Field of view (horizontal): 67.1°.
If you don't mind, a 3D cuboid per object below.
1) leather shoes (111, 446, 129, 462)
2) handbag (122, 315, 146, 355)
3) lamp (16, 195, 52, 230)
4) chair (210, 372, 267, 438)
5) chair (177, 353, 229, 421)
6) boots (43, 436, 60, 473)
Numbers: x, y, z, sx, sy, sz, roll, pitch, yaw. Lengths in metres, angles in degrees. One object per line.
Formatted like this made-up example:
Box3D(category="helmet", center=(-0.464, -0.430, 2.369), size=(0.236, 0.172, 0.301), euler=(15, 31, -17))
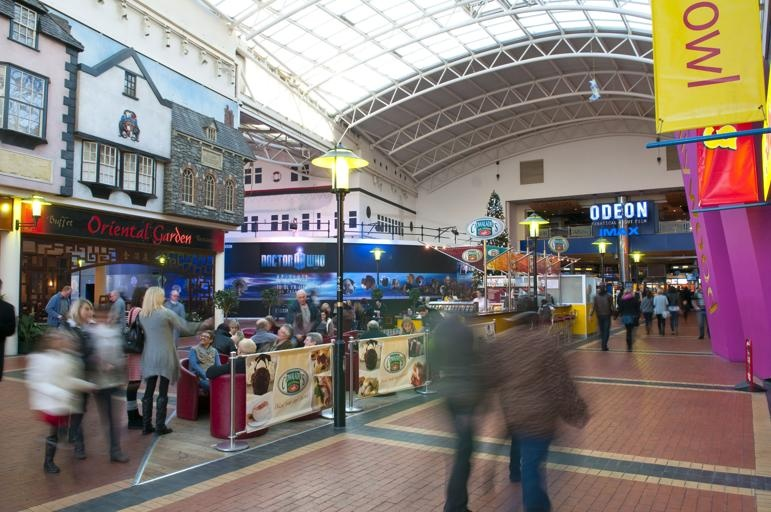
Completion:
Box3D(category="leather shoes", center=(-4.768, 3.546, 10.418), size=(0.296, 0.267, 0.222), euler=(2, -4, -27))
Box3D(category="handbag", center=(-4.900, 1.550, 11.330), size=(0.378, 0.777, 0.795), euler=(-1, -7, -4))
Box3D(category="lamp", center=(-10.972, -1.340, 18.116), size=(0.980, 1.126, 0.854), euler=(-6, -10, 6))
Box3D(category="chair", center=(-2.907, 2.898, 11.548), size=(1.088, 1.263, 1.092), euler=(1, -4, -15))
Box3D(category="chair", center=(-4.312, 2.822, 12.684), size=(1.199, 1.382, 1.315), euler=(-7, -12, 26))
Box3D(category="boots", center=(-5.854, 3.454, 10.198), size=(0.237, 0.617, 0.434), euler=(2, -5, -31))
